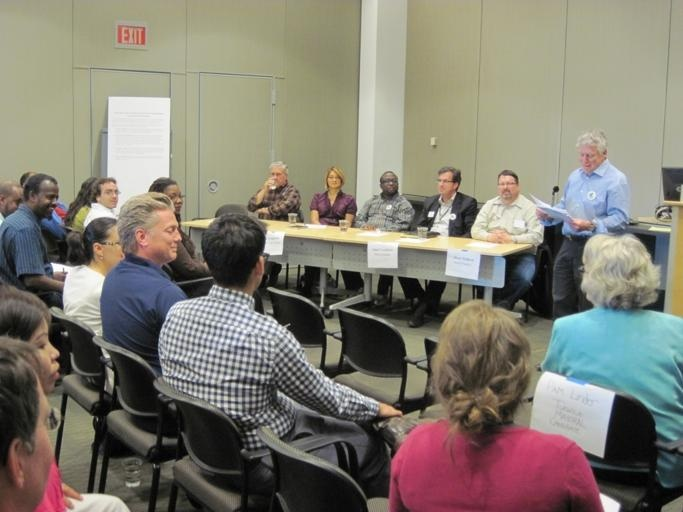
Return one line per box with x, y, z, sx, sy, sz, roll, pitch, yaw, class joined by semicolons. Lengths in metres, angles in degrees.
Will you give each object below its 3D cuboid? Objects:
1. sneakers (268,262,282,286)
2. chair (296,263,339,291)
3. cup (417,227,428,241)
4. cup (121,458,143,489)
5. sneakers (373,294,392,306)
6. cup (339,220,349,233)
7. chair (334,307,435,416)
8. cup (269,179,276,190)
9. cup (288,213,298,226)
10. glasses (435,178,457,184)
-0.855;0.238;7.111;0.129;0.379;0.193;-14;22;-40;sneakers
-0.363;0.260;7.106;0.322;0.479;0.352;-2;7;-36;chair
0.810;-0.224;5.651;0.104;0.129;0.105;0;4;0;cup
-1.103;1.152;2.966;0.090;0.110;0.091;1;9;0;cup
0.458;0.528;6.548;0.103;0.060;0.160;-2;4;-43;sneakers
0.024;-0.325;6.209;0.103;0.098;0.112;1;2;0;cup
0.256;0.644;3.360;0.518;0.769;0.521;10;16;39;chair
-0.887;-0.918;7.247;0.083;0.088;0.103;0;1;0;cup
-0.578;-0.427;6.645;0.126;0.120;0.138;0;3;0;cup
1.175;-0.826;6.271;0.170;0.041;0.082;4;7;22;glasses
